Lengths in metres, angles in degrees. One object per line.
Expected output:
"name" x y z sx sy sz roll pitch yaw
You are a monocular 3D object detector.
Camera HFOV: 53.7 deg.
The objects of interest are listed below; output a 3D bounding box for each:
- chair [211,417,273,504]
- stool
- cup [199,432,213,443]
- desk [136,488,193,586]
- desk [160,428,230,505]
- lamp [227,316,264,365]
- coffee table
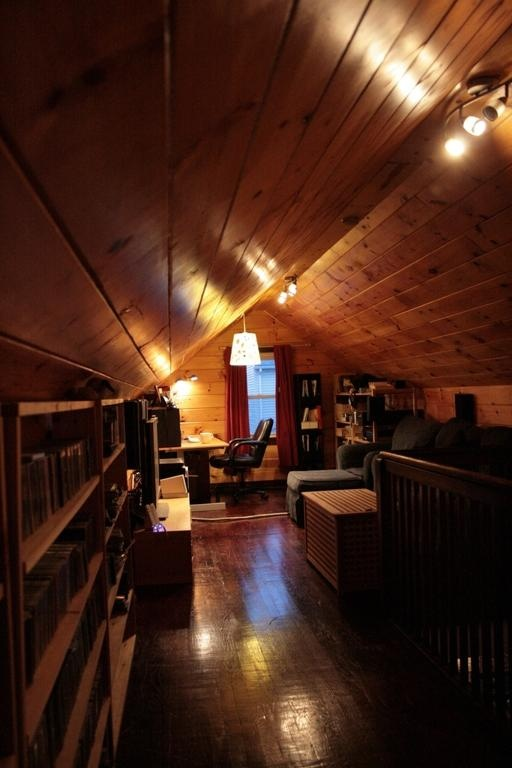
"chair" -0.172 0.884 5.968 0.796 1.209 0.807 2 -4 -10
"stool" 0.535 0.966 4.589 0.468 0.380 0.507 0 -5 -4
"cup" -0.575 0.627 5.792 0.083 0.081 0.102 1 -10 -41
"desk" -0.684 0.841 3.748 0.366 0.431 1.221 1 26 -11
"desk" -0.650 0.904 5.599 0.631 0.705 0.682 -2 1 -5
"lamp" -0.109 -0.439 4.891 0.262 0.675 0.281 -4 -19 2
"coffee table" 0.591 1.031 3.354 0.396 0.491 0.747 -1 -2 -11
